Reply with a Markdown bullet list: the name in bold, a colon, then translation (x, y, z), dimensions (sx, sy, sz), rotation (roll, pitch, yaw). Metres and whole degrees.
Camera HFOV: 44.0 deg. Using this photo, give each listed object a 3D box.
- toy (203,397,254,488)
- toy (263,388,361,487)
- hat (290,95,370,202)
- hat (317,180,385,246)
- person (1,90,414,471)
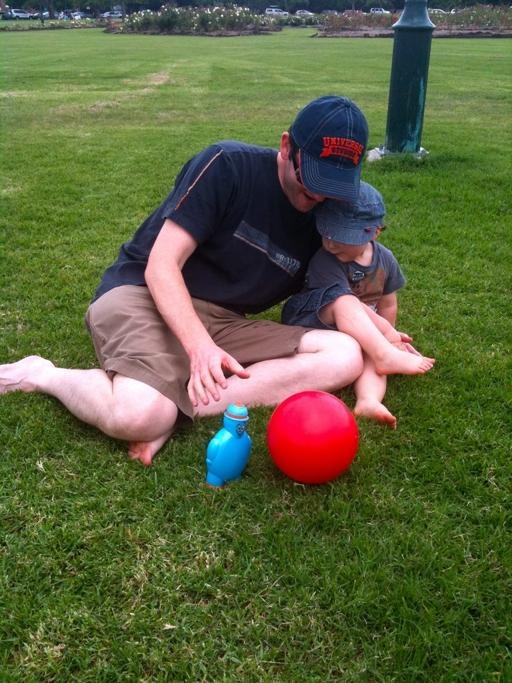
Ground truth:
- **toy**: translation (-0.093, 0.361, 2.298), dimensions (0.193, 0.314, 0.160), rotation (-6, 24, -17)
- **toy**: translation (0.224, 0.340, 2.328), dimensions (0.348, 0.316, 0.310), rotation (-1, 43, 8)
- **hat**: translation (0.271, -0.737, 2.502), dimensions (0.294, 0.402, 0.232), rotation (3, -15, -21)
- **hat**: translation (0.447, -0.574, 2.880), dimensions (0.261, 0.174, 0.350), rotation (16, 31, 4)
- **person**: translation (-0.201, -0.343, 2.670), dimensions (1.164, 1.322, 1.258), rotation (21, 30, 40)
